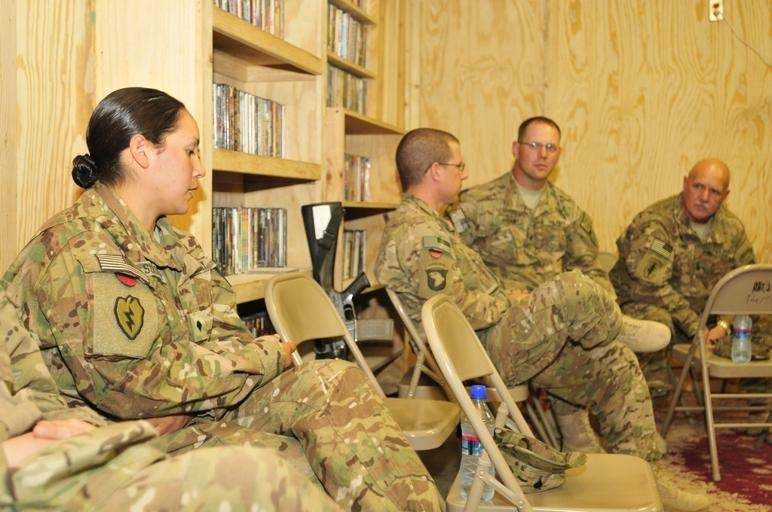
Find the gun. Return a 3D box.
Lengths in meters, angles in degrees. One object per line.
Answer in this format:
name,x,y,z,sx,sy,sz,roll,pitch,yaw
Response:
gun,-0.292,0.012,3.323,0.349,0.977,0.222,-9,5,-30

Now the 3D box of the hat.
hat,0.458,0.657,2.144,0.211,0.153,0.168,13,9,-16

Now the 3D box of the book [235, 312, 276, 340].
book,-0.620,0.334,3.183,0.041,0.158,0.168,-13,1,44
